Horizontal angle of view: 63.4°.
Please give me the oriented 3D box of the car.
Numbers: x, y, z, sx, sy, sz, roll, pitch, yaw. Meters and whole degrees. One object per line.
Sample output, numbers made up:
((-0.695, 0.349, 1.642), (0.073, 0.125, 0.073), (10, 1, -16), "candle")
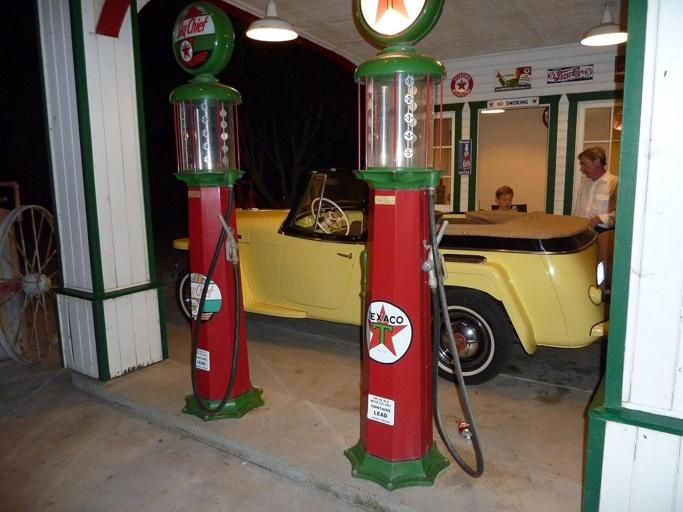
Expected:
((0.574, 0.055, 5.716), (3.635, 1.527, 2.108), (6, 7, 21), "car")

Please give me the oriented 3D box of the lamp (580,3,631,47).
((2.881, -2.547, 6.055), (0.422, 0.421, 0.623), (6, 17, 27), "lamp")
